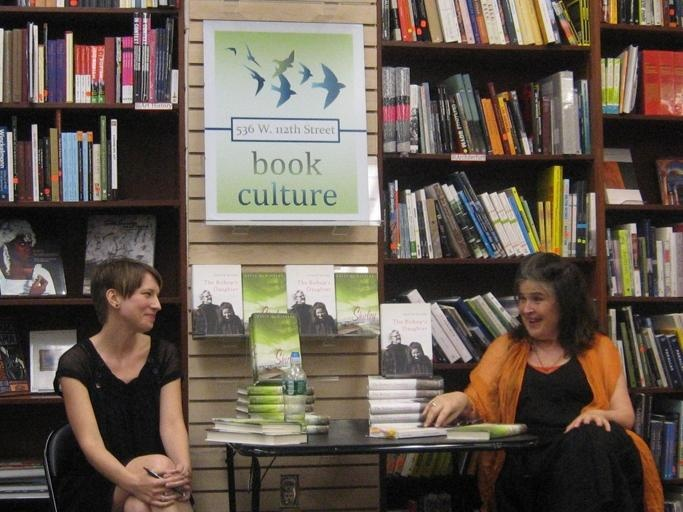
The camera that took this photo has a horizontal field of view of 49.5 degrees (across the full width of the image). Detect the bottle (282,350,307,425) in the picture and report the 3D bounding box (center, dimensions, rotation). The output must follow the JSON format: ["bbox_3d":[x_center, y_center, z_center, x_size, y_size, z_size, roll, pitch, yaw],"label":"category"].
[{"bbox_3d":[-0.203,0.580,3.229,0.100,0.290,0.338,-3,1,-3],"label":"bottle"}]
